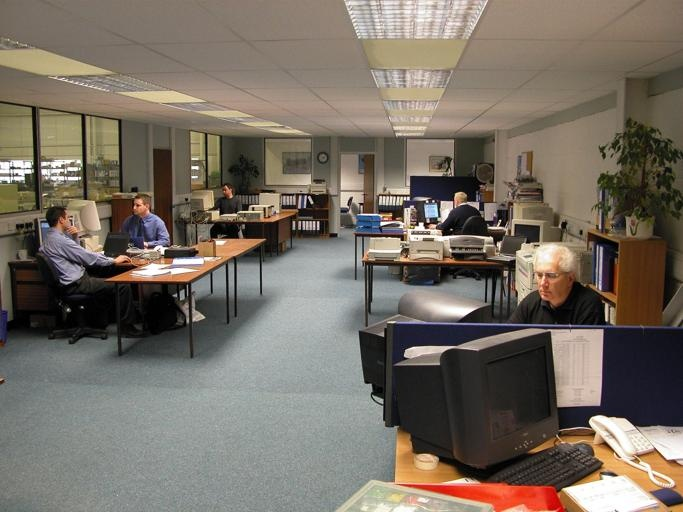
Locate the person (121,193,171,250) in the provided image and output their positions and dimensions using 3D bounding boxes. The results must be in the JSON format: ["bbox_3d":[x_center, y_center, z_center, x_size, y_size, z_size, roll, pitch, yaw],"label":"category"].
[{"bbox_3d":[-2.714,-0.408,6.970,0.866,0.824,0.513,-3,-7,11],"label":"person"}]

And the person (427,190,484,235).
[{"bbox_3d":[1.901,-0.702,8.555,0.611,0.482,0.800,-10,12,-19],"label":"person"}]

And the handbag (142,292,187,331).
[{"bbox_3d":[-2.066,0.606,6.011,0.460,0.463,0.449,-2,7,30],"label":"handbag"}]

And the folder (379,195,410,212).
[{"bbox_3d":[1.309,-1.400,13.655,0.870,0.565,0.456,0,4,2],"label":"folder"}]

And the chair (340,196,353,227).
[{"bbox_3d":[0.198,-1.385,15.928,0.380,0.878,0.482,0,12,-4],"label":"chair"}]

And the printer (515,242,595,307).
[{"bbox_3d":[1.286,0.142,3.116,0.300,0.395,0.257,-2,2,-40],"label":"printer"}]

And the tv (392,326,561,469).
[{"bbox_3d":[0.605,0.625,2.368,0.559,0.528,0.545,-4,2,-34],"label":"tv"}]

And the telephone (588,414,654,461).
[{"bbox_3d":[1.239,0.791,2.292,0.192,0.066,0.161,1,17,-30],"label":"telephone"}]

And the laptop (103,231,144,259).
[{"bbox_3d":[-2.705,-0.140,6.394,0.406,0.271,0.326,-1,-5,-19],"label":"laptop"}]

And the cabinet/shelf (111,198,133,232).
[{"bbox_3d":[-3.605,-0.631,8.581,0.229,0.565,0.297,14,-1,4],"label":"cabinet/shelf"}]

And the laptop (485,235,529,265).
[{"bbox_3d":[2.009,-0.070,6.347,0.411,0.234,0.377,-5,7,-33],"label":"laptop"}]

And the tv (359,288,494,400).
[{"bbox_3d":[0.407,0.360,2.745,0.633,0.440,0.648,-1,1,-21],"label":"tv"}]

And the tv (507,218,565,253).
[{"bbox_3d":[2.744,-0.343,7.259,0.595,0.420,0.581,-2,4,-15],"label":"tv"}]

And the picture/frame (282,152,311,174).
[{"bbox_3d":[-1.300,-2.695,14.733,0.657,0.436,0.021,-1,5,-10],"label":"picture/frame"}]

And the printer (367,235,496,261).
[{"bbox_3d":[1.086,-0.102,6.129,1.533,0.286,0.300,1,12,2],"label":"printer"}]

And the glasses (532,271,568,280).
[{"bbox_3d":[1.228,0.114,3.043,0.167,0.060,0.095,9,14,36],"label":"glasses"}]

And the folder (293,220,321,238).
[{"bbox_3d":[-0.917,-0.698,13.422,0.757,0.363,0.510,0,12,5],"label":"folder"}]

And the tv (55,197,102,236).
[{"bbox_3d":[-3.323,-0.489,6.526,0.315,0.400,0.382,-8,0,25],"label":"tv"}]

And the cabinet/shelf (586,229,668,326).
[{"bbox_3d":[2.540,0.197,4.518,0.349,0.799,0.894,-1,3,3],"label":"cabinet/shelf"}]

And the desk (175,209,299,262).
[{"bbox_3d":[-1.824,-0.610,10.471,1.654,0.696,1.167,0,5,5],"label":"desk"}]

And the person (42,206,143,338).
[{"bbox_3d":[-2.819,0.175,5.824,0.932,1.422,0.905,-4,13,-21],"label":"person"}]

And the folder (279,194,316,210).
[{"bbox_3d":[-1.120,-1.440,13.602,0.896,0.422,0.294,0,12,-1],"label":"folder"}]

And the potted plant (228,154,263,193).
[{"bbox_3d":[-2.668,-2.310,14.297,0.907,1.009,0.564,-2,13,-13],"label":"potted plant"}]
